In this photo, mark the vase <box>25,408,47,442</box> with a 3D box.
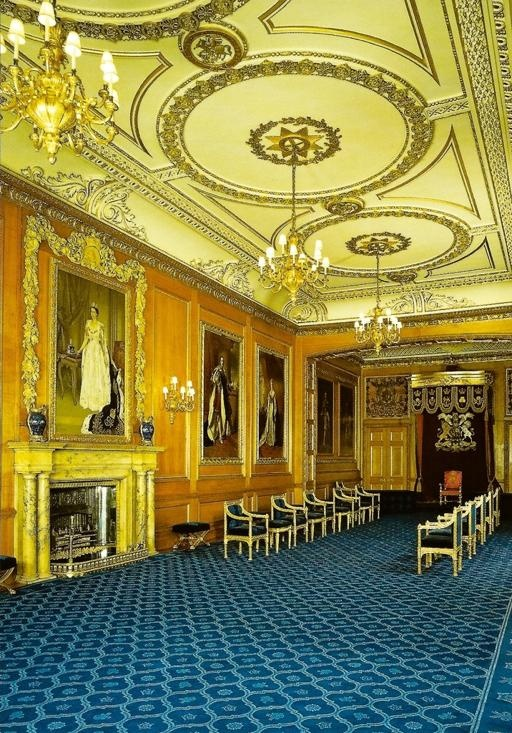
[{"bbox_3d":[-2.638,0.708,6.400,0.238,0.422,0.456,7,-13,-23],"label":"vase"}]

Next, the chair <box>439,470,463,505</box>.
[{"bbox_3d":[6.609,4.135,17.898,0.953,1.533,0.924,-2,-13,20],"label":"chair"}]

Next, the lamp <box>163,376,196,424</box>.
[{"bbox_3d":[-1.379,0.581,9.440,0.386,0.816,0.912,-2,-13,13],"label":"lamp"}]

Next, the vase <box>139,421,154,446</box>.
[{"bbox_3d":[-1.727,1.047,8.362,0.200,0.394,0.306,4,-13,-13],"label":"vase"}]

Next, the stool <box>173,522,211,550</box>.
[{"bbox_3d":[-1.178,2.978,9.253,0.658,0.476,0.511,-3,-8,16],"label":"stool"}]
